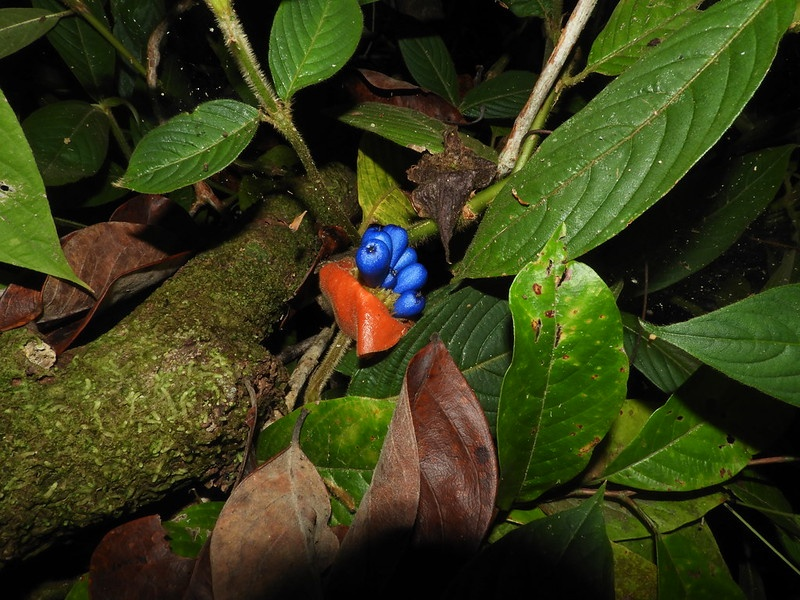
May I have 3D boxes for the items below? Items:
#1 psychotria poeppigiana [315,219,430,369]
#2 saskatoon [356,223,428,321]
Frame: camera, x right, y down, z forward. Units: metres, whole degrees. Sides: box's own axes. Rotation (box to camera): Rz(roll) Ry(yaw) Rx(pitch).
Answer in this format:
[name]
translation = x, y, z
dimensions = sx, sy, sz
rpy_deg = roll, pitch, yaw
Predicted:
[psychotria poeppigiana]
translation = -0.062, -0.042, 2.855
dimensions = 0.388, 0.428, 0.394
rpy_deg = -22, 50, -28
[saskatoon]
translation = -0.032, -0.122, 2.805
dimensions = 0.195, 0.334, 0.308
rpy_deg = -12, 52, 38
